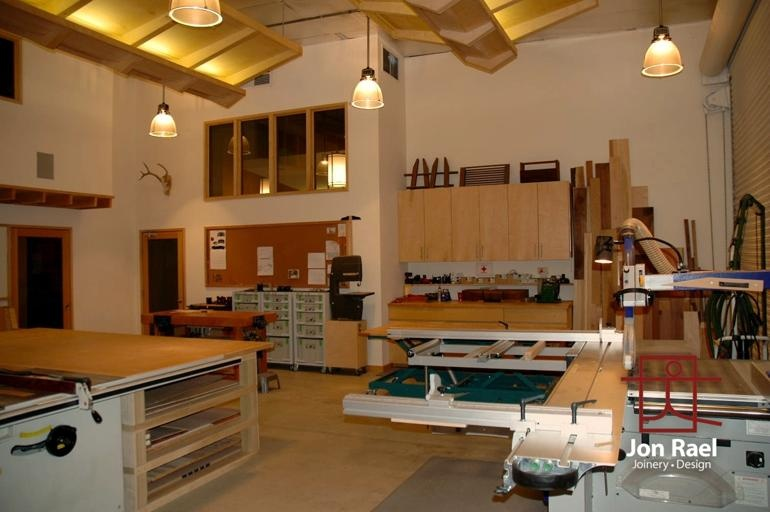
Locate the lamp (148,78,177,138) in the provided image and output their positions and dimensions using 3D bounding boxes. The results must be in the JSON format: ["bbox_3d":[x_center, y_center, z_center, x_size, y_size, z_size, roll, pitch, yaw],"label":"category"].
[{"bbox_3d":[-2.649,-1.785,6.894,0.329,0.678,0.320,5,15,-1],"label":"lamp"}]

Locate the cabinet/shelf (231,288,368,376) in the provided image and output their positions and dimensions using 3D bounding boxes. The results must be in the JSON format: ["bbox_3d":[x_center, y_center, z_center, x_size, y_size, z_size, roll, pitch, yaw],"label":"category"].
[{"bbox_3d":[-1.161,1.147,8.486,1.332,0.813,0.444,0,-2,21],"label":"cabinet/shelf"}]

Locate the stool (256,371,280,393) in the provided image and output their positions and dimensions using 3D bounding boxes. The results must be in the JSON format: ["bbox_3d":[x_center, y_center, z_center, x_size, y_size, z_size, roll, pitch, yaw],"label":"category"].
[{"bbox_3d":[-1.607,1.742,7.927,0.240,0.187,0.291,-5,4,8],"label":"stool"}]

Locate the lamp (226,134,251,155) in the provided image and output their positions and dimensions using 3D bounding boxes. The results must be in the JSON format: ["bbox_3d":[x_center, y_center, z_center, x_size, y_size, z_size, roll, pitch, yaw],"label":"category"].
[{"bbox_3d":[-2.469,-1.841,9.755,0.387,0.398,0.382,-1,0,17],"label":"lamp"}]

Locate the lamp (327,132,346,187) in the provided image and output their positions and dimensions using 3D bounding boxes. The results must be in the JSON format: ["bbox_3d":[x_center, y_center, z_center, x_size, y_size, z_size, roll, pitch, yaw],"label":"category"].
[{"bbox_3d":[-0.778,-1.483,9.271,0.351,0.818,0.185,0,7,7],"label":"lamp"}]

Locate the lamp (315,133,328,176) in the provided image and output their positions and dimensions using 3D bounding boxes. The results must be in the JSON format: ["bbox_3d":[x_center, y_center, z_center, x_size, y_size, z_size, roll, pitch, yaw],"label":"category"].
[{"bbox_3d":[-1.039,-1.657,9.395,0.241,0.696,0.073,2,7,20],"label":"lamp"}]

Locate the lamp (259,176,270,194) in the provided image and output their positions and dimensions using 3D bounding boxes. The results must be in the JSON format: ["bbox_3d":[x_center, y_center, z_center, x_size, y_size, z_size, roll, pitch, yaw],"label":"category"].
[{"bbox_3d":[-2.021,-1.171,9.682,0.280,0.278,0.129,4,8,37],"label":"lamp"}]
